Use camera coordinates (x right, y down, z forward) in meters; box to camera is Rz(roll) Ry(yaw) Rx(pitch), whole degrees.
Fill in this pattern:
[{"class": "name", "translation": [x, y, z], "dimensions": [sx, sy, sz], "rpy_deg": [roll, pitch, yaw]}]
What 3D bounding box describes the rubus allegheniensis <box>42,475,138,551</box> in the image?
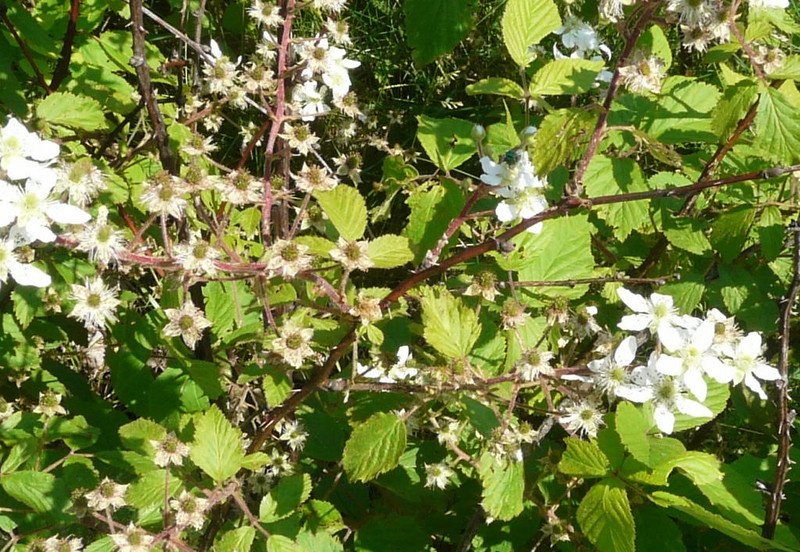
[{"class": "rubus allegheniensis", "translation": [-1.192, 0.902, 2.937], "dimensions": [0.236, 0.244, 0.252], "rpy_deg": [16, 51, -12]}]
